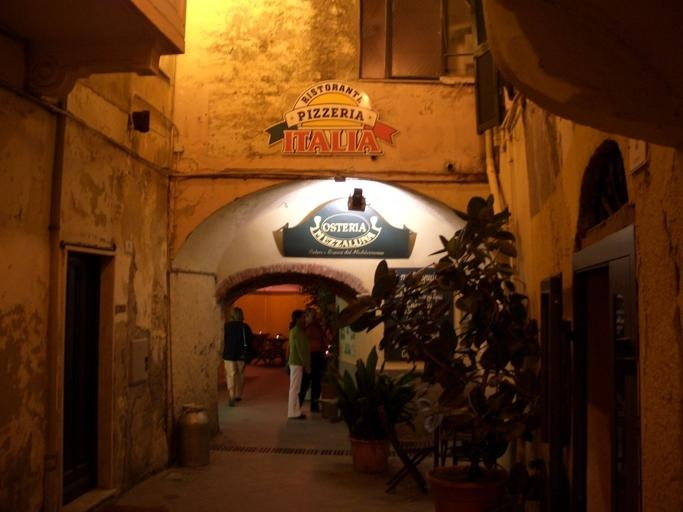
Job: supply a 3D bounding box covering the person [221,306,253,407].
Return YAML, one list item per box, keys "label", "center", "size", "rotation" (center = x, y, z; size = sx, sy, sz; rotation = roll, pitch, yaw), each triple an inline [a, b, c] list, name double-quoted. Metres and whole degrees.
- label: "person"
  center: [-1.871, 1.767, 12.004]
  size: [0.504, 1.771, 1.215]
  rotation: [1, -10, -8]

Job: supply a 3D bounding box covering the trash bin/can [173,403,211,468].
- label: "trash bin/can"
  center: [-1.698, 2.037, 7.615]
  size: [0.359, 0.674, 0.260]
  rotation: [1, -10, -7]

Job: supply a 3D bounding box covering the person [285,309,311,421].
- label: "person"
  center: [-0.682, 1.717, 10.676]
  size: [0.324, 1.697, 0.472]
  rotation: [2, -10, -10]
